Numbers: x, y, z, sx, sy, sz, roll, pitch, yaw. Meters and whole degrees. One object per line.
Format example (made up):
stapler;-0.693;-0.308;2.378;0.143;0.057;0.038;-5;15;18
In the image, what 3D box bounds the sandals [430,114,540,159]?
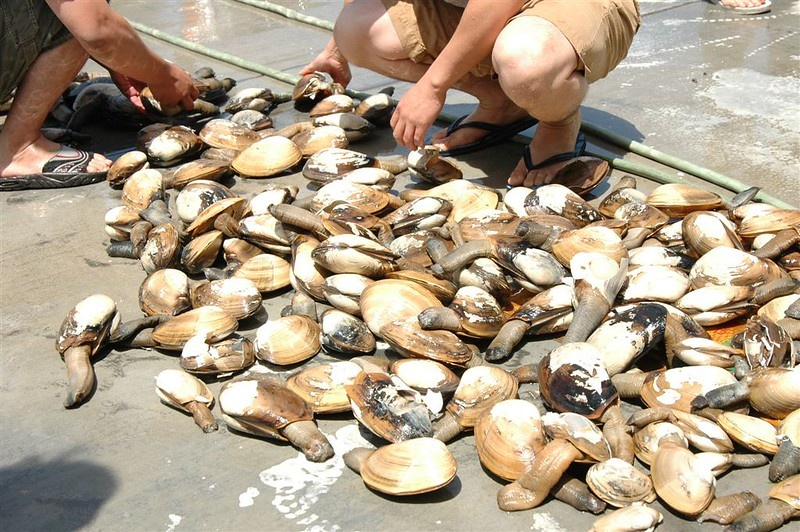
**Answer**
sandals;0.504;-0.715;3.525;0.591;0.118;0.191;-18;26;-6
